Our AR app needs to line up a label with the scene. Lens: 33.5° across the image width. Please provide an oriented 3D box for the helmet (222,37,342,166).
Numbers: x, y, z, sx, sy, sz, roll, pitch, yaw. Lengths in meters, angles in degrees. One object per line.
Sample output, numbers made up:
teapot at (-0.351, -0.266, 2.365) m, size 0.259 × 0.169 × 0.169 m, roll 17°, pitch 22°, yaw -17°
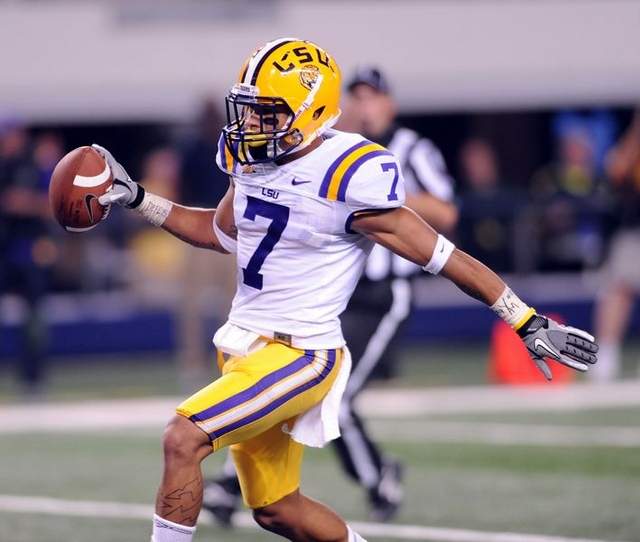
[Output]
helmet at (-0.124, -0.627, 3.804) m, size 0.468 × 0.397 × 0.345 m, roll -17°, pitch 23°, yaw -34°

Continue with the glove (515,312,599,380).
glove at (0.816, 0.274, 3.665) m, size 0.271 × 0.240 × 0.171 m, roll 1°, pitch 6°, yaw 6°

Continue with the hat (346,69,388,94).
hat at (0.233, -0.919, 5.271) m, size 0.179 × 0.098 × 0.121 m, roll 6°, pitch 12°, yaw -9°
